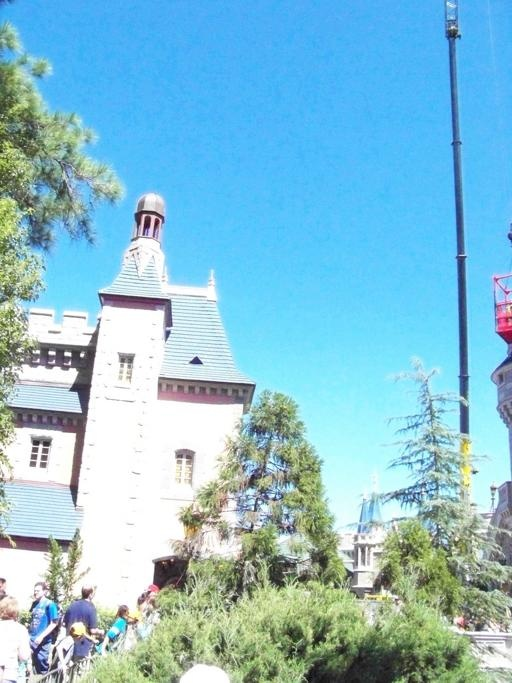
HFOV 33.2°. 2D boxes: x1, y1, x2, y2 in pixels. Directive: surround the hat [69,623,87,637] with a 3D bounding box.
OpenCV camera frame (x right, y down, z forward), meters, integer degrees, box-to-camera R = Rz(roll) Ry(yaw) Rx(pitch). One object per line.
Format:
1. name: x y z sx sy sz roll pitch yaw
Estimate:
1. hat: -2.533 4.089 12.182 0.254 0.218 0.348 5 -22 -3
